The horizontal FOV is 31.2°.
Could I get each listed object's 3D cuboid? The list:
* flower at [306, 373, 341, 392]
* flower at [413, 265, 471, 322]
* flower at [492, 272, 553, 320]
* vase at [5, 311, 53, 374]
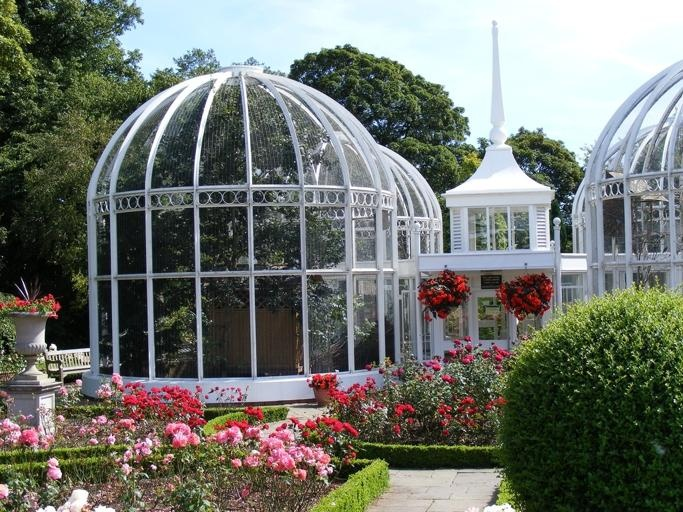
[{"bbox_3d":[-0.340,2.822,27.525,0.530,0.310,0.541,-1,-4,36],"label":"flower"},{"bbox_3d":[2.886,0.828,31.128,0.888,0.971,0.970,-21,14,20],"label":"flower"},{"bbox_3d":[4.623,0.909,30.631,1.166,1.030,1.187,-4,3,1],"label":"flower"},{"bbox_3d":[-6.316,1.832,24.937,0.750,1.341,0.612,0,-4,-17],"label":"vase"}]
